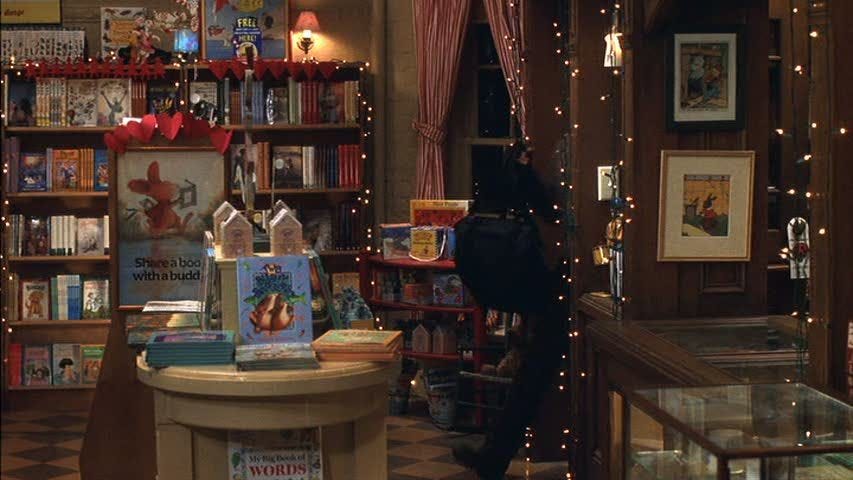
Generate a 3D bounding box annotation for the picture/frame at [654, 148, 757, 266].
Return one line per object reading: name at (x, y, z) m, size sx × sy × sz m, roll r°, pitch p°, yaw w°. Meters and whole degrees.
picture/frame at (1.972, -0.250, 7.138) m, size 0.826 × 0.913 × 0.063 m, roll 2°, pitch 5°, yaw 4°

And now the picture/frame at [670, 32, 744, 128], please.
picture/frame at (1.984, -1.125, 7.128) m, size 0.716 × 0.912 × 0.095 m, roll 0°, pitch 2°, yaw 0°
